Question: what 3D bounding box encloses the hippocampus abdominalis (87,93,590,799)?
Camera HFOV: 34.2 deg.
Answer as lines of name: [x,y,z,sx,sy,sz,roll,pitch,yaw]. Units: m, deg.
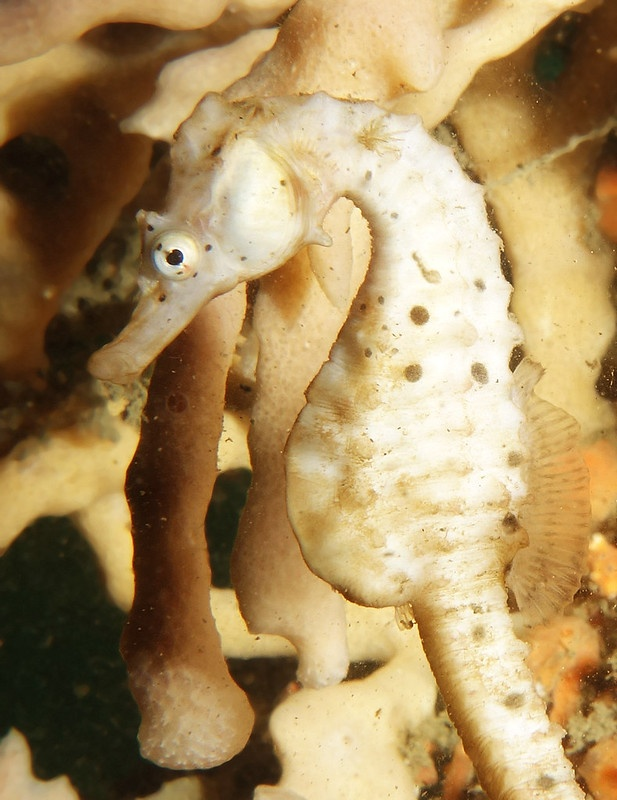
hippocampus abdominalis: [0.076,0.069,1.436,0.569,0.419,0.969,-16,76,1]
